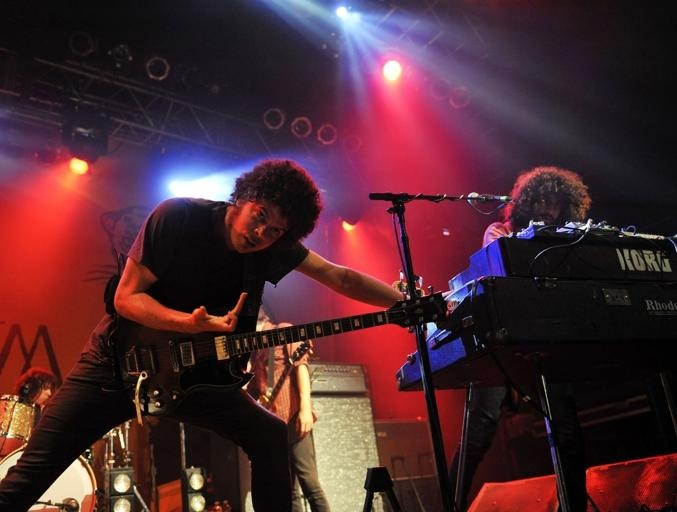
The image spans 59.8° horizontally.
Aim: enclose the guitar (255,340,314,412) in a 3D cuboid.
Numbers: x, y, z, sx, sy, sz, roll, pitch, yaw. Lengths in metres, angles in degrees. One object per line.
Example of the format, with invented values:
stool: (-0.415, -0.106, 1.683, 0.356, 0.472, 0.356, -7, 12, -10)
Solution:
guitar: (-0.566, 1.314, 6.406, 0.510, 1.026, 0.169, 8, -10, 33)
